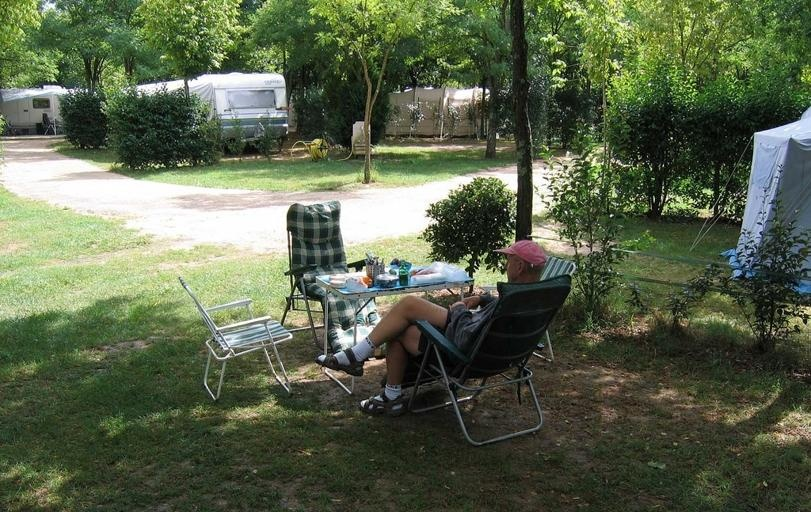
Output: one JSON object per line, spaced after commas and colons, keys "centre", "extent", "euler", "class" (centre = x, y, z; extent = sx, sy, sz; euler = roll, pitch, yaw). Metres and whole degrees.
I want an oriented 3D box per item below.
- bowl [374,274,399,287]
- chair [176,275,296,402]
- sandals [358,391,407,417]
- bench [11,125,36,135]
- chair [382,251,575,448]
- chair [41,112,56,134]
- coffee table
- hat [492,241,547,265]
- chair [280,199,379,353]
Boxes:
{"centre": [-0.229, 0.314, 8.572], "extent": [0.193, 0.089, 0.187], "euler": [-1, 9, 0], "class": "bowl"}
{"centre": [-2.216, 0.872, 8.852], "extent": [1.658, 1.942, 1.303], "euler": [-6, 21, -22], "class": "chair"}
{"centre": [-0.277, 1.742, 8.029], "extent": [0.519, 0.238, 0.242], "euler": [3, -2, 5], "class": "sandals"}
{"centre": [-24.595, -8.138, 43.761], "extent": [1.497, 0.575, 0.426], "euler": [-7, 15, -27], "class": "bench"}
{"centre": [1.205, 1.086, 8.010], "extent": [1.587, 2.084, 2.176], "euler": [-5, 8, -30], "class": "chair"}
{"centre": [-23.010, -8.643, 43.853], "extent": [0.827, 1.353, 0.770], "euler": [-1, 33, -12], "class": "chair"}
{"centre": [-0.274, 1.301, 9.190], "extent": [2.457, 1.544, 1.470], "euler": [-7, 21, -23], "class": "coffee table"}
{"centre": [1.340, -0.052, 7.812], "extent": [0.450, 0.168, 0.288], "euler": [9, 6, 18], "class": "hat"}
{"centre": [-0.967, 0.259, 9.431], "extent": [1.061, 1.851, 2.004], "euler": [-6, 11, -30], "class": "chair"}
